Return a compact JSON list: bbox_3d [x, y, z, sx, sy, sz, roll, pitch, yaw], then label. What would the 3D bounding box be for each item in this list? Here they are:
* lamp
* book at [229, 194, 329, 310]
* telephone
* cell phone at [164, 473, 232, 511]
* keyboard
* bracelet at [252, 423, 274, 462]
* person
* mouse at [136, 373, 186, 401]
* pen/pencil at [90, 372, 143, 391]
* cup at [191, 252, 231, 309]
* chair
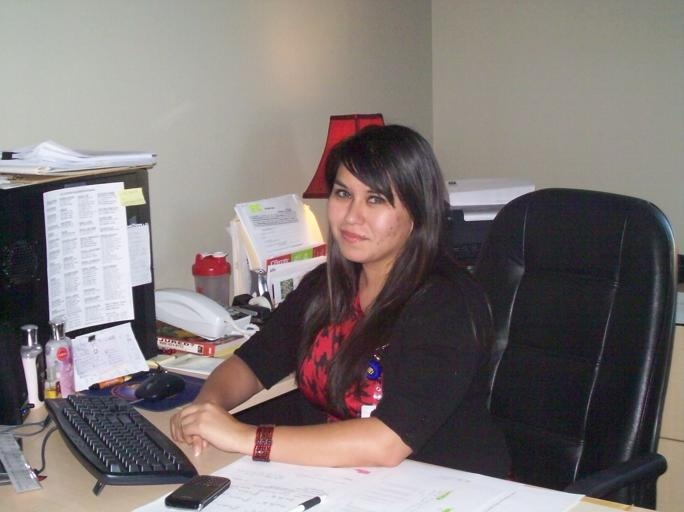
[{"bbox_3d":[0.058,-0.428,2.458,0.287,0.416,0.413,17,22,30],"label":"lamp"},{"bbox_3d":[-0.235,-0.008,2.015,0.216,0.388,0.366,9,19,43],"label":"book"},{"bbox_3d":[-0.429,0.181,1.808,0.326,0.108,0.185,15,11,13],"label":"telephone"},{"bbox_3d":[-0.262,0.429,1.017,0.079,0.025,0.095,5,14,28],"label":"cell phone"},{"bbox_3d":[-0.468,0.379,1.154,0.133,0.058,0.272,-18,24,-22],"label":"keyboard"},{"bbox_3d":[-0.164,0.391,1.162,0.047,0.075,0.069,3,-31,-5],"label":"bracelet"},{"bbox_3d":[0.045,0.038,1.581,0.898,0.944,0.698,-2,6,-34],"label":"person"},{"bbox_3d":[-0.463,0.339,1.442,0.052,0.044,0.101,10,8,41],"label":"mouse"},{"bbox_3d":[-0.615,0.339,1.503,0.021,0.023,0.164,23,22,38],"label":"pen/pencil"},{"bbox_3d":[-0.492,0.088,2.116,0.130,0.207,0.128,0,20,0],"label":"cup"},{"bbox_3d":[0.366,0.197,1.804,0.688,1.235,0.709,3,3,35],"label":"chair"}]
